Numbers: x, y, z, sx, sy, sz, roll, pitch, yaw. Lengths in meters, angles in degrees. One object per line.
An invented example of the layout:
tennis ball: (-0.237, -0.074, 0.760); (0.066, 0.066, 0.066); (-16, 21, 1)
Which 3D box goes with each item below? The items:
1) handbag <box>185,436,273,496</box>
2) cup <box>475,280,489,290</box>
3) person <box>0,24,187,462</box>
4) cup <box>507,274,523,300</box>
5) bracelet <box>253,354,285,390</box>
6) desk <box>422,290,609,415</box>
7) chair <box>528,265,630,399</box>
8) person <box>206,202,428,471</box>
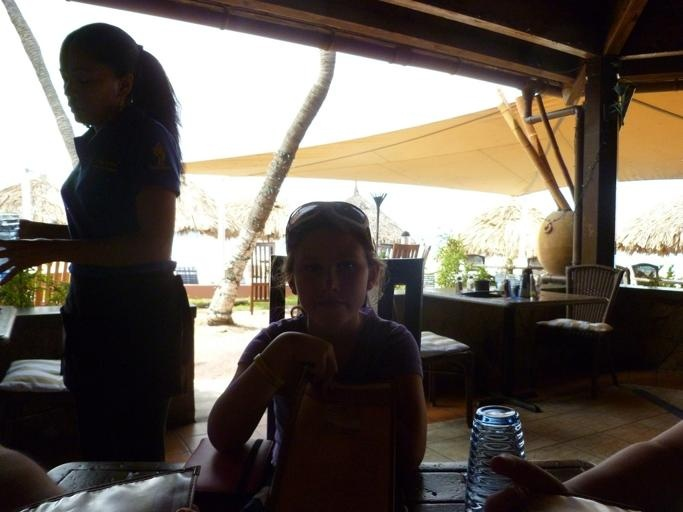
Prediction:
handbag: (-0.301, 0.571, 1.349); (0.158, 0.049, 0.159); (2, 9, 1)
cup: (1.237, 0.256, 4.319); (0.089, 0.075, 0.097); (0, -3, 0)
person: (-0.748, -0.038, 1.594); (0.496, 1.454, 0.248); (2, 0, -19)
cup: (1.434, 0.263, 4.092); (0.156, 0.253, 0.161); (-2, 3, 0)
bracelet: (-0.204, 0.325, 1.378); (0.089, 0.032, 0.078); (46, -9, 2)
desk: (1.380, 0.683, 4.356); (1.090, 0.672, 1.072); (-2, 4, -29)
chair: (2.163, 0.607, 4.464); (0.655, 1.014, 0.652); (-2, 2, -30)
person: (-0.080, 0.215, 1.488); (0.587, 0.791, 0.502); (2, 0, -26)
